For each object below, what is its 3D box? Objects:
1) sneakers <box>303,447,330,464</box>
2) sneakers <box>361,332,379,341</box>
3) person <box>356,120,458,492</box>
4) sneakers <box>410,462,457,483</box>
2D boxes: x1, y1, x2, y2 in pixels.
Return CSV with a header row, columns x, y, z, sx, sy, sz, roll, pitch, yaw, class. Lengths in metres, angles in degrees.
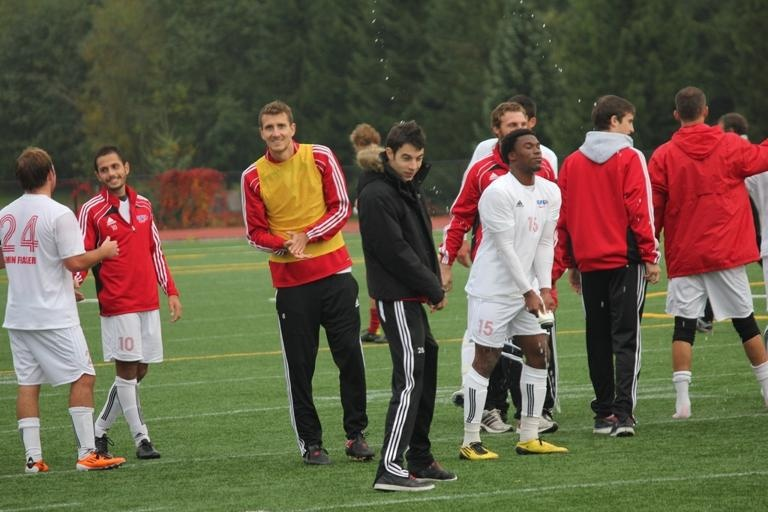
x,y,z,sx,sy,sz,roll,pitch,yaw,class
-0.796,2.382,14.405,0.282,0.117,0.169,-2,6,-35,sneakers
-0.212,1.284,19.180,0.322,0.146,0.116,3,2,3,sneakers
0.232,0.558,13.770,0.959,4.034,1.154,-3,12,0,person
0.572,2.463,13.856,0.591,0.260,0.205,1,-3,-2,sneakers
